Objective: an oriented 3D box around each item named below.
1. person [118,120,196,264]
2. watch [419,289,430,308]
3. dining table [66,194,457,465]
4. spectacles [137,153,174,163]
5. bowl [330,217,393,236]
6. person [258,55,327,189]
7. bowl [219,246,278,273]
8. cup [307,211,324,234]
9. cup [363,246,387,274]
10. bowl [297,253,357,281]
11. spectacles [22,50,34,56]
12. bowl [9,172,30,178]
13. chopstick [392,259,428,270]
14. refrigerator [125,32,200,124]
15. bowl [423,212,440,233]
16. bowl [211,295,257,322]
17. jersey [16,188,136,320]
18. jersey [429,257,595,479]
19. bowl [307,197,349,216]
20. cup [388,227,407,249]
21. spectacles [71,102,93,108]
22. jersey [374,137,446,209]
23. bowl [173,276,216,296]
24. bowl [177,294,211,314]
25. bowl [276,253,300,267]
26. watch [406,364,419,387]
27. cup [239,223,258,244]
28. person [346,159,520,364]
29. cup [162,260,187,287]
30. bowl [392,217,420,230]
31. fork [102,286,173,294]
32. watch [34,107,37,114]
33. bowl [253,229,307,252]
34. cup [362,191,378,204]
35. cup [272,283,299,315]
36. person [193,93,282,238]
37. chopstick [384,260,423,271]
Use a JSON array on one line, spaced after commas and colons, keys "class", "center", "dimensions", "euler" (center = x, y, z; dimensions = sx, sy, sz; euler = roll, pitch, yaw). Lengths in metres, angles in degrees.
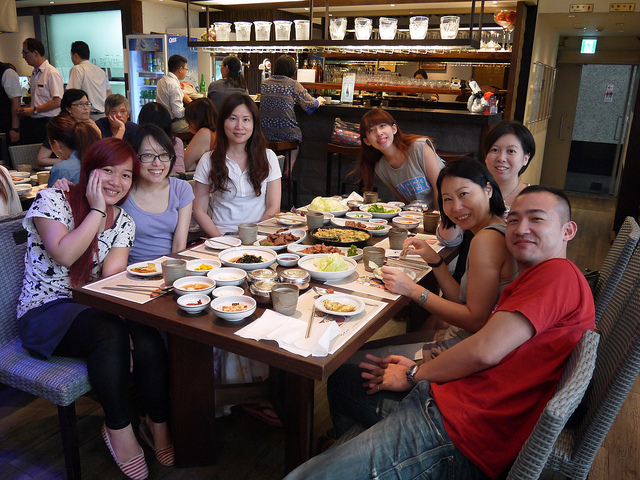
[{"class": "person", "center": [-0.949, -0.219, 2.442], "dimensions": [0.455, 0.847, 0.450], "euler": [0, 7, -14]}, {"class": "watch", "center": [0.445, 0.249, 1.868], "dimensions": [0.041, 0.066, 0.061], "euler": [40, 4, 24]}, {"class": "dining table", "center": [-0.144, 0.490, 2.133], "dimensions": [0.812, 0.688, 1.367], "euler": [-21, 23, -38]}, {"class": "spectacles", "center": [-0.895, -0.457, 2.401], "dimensions": [0.183, 0.050, 0.069], "euler": [-6, 20, -22]}, {"class": "bowl", "center": [0.233, -0.088, 2.657], "dimensions": [0.376, 0.052, 0.277], "euler": [6, 19, 12]}, {"class": "person", "center": [-0.387, -1.554, 5.711], "dimensions": [0.919, 1.561, 0.769], "euler": [-5, 16, -31]}, {"class": "bowl", "center": [-0.344, 0.083, 2.121], "dimensions": [0.286, 0.047, 0.264], "euler": [2, 19, -1]}, {"class": "cup", "center": [-0.027, -0.113, 2.613], "dimensions": [0.103, 0.117, 0.105], "euler": [4, 27, -2]}, {"class": "cup", "center": [0.272, 0.096, 2.102], "dimensions": [0.113, 0.096, 0.102], "euler": [4, 14, 12]}, {"class": "bowl", "center": [0.032, 0.133, 2.057], "dimensions": [0.272, 0.069, 0.245], "euler": [4, 19, 6]}, {"class": "spectacles", "center": [-3.992, -2.590, 5.974], "dimensions": [0.184, 0.059, 0.040], "euler": [7, 19, 15]}, {"class": "bowl", "center": [-2.495, -0.551, 3.622], "dimensions": [0.125, 0.031, 0.075], "euler": [6, 13, -1]}, {"class": "chopstick", "center": [0.446, 0.124, 2.152], "dimensions": [0.186, 0.010, 0.021], "euler": [20, 21, -1]}, {"class": "refrigerator", "center": [-3.345, -3.457, 9.341], "dimensions": [0.990, 1.836, 0.953], "euler": [10, 26, 13]}, {"class": "bowl", "center": [0.671, -0.110, 2.641], "dimensions": [0.104, 0.113, 0.107], "euler": [1, 7, 0]}, {"class": "bowl", "center": [-0.327, 0.264, 1.672], "dimensions": [0.169, 0.058, 0.144], "euler": [-3, 19, -14]}, {"class": "jersey", "center": [-1.343, 0.088, 2.170], "dimensions": [0.246, 0.450, 0.472], "euler": [-11, 22, 29]}, {"class": "jersey", "center": [0.645, 0.410, 1.451], "dimensions": [0.472, 0.667, 0.283], "euler": [-4, 19, -18]}, {"class": "bowl", "center": [0.051, -0.223, 2.846], "dimensions": [0.155, 0.066, 0.157], "euler": [3, 19, -1]}, {"class": "cup", "center": [0.413, -0.013, 2.375], "dimensions": [0.096, 0.106, 0.099], "euler": [1, 12, 0]}, {"class": "spectacles", "center": [-2.259, -1.292, 4.141], "dimensions": [0.065, 0.046, 0.157], "euler": [12, 21, 28]}, {"class": "jersey", "center": [0.747, -0.536, 3.517], "dimensions": [0.541, 0.582, 0.321], "euler": [3, 47, 47]}, {"class": "bowl", "center": [-0.516, 0.187, 1.810], "dimensions": [0.101, 0.027, 0.103], "euler": [4, 22, -2]}, {"class": "bowl", "center": [-0.486, 0.252, 1.693], "dimensions": [0.124, 0.052, 0.098], "euler": [-4, 19, -16]}, {"class": "bowl", "center": [-0.155, 0.092, 2.134], "dimensions": [0.112, 0.040, 0.131], "euler": [1, 19, -3]}, {"class": "watch", "center": [0.360, 0.531, 1.692], "dimensions": [0.040, 0.058, 0.062], "euler": [-29, 0, 9]}, {"class": "cup", "center": [-0.379, -0.036, 2.330], "dimensions": [0.093, 0.089, 0.101], "euler": [0, 9, 0]}, {"class": "person", "center": [0.556, 0.297, 2.090], "dimensions": [0.722, 1.324, 0.614], "euler": [5, 7, 10]}, {"class": "cup", "center": [-0.609, 0.137, 1.863], "dimensions": [0.097, 0.110, 0.100], "euler": [1, 10, 0]}, {"class": "bowl", "center": [0.550, -0.113, 2.779], "dimensions": [0.170, 0.029, 0.231], "euler": [5, 19, 9]}, {"class": "fork", "center": [-0.774, 0.210, 1.827], "dimensions": [0.280, 0.010, 0.036], "euler": [4, 19, 7]}, {"class": "watch", "center": [-3.911, -1.797, 6.017], "dimensions": [0.024, 0.087, 0.100], "euler": [-12, 23, -37]}, {"class": "bowl", "center": [-0.161, -0.003, 2.337], "dimensions": [0.132, 0.045, 0.202], "euler": [18, 31, 32]}, {"class": "cup", "center": [0.370, -0.313, 3.220], "dimensions": [0.093, 0.081, 0.096], "euler": [-1, 20, 0]}, {"class": "cup", "center": [-0.138, 0.240, 1.711], "dimensions": [0.121, 0.093, 0.107], "euler": [1, 4, 2]}, {"class": "person", "center": [-0.556, -0.487, 3.021], "dimensions": [0.625, 0.979, 0.596], "euler": [-2, 19, -16]}, {"class": "chopstick", "center": [0.403, 0.123, 2.138], "dimensions": [0.176, 0.012, 0.026], "euler": [11, 21, 26]}]
